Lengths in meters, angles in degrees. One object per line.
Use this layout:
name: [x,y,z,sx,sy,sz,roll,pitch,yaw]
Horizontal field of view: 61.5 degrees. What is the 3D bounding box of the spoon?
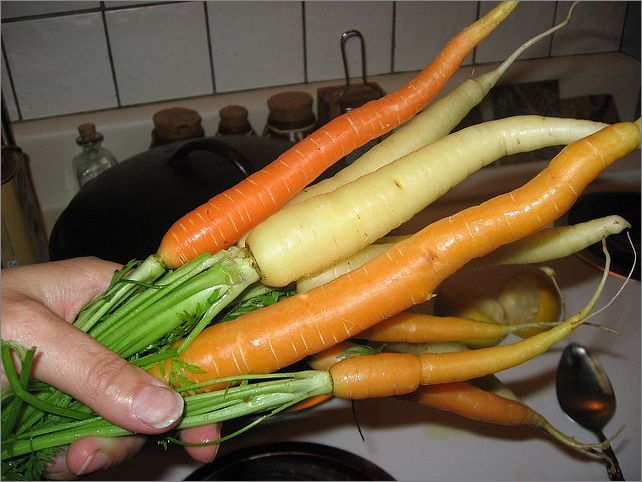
spoon: [0.509,0.312,1.038,0.063,0.036,0.264,-8,47,-3]
